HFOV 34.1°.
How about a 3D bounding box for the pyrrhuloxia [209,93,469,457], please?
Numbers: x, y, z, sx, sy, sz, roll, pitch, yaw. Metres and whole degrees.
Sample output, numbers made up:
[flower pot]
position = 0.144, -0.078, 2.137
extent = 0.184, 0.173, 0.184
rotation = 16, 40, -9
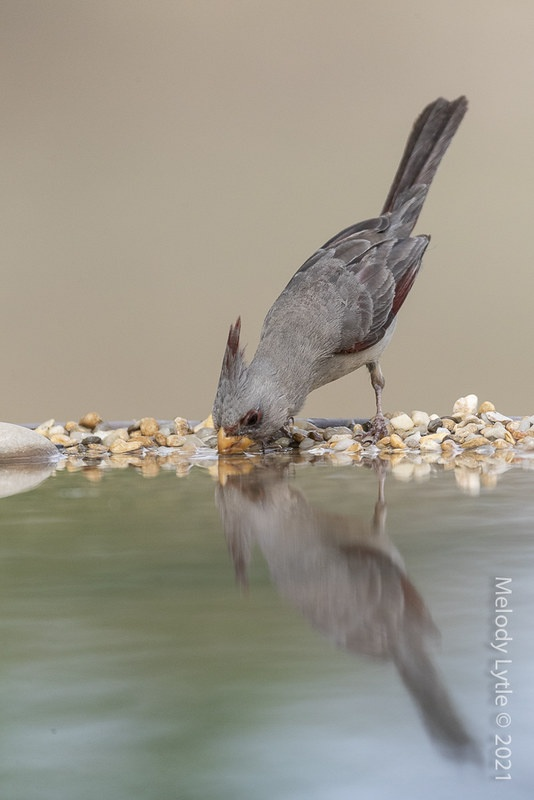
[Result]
[pyrrhuloxia]
position = 0.248, -0.442, 2.871
extent = 0.484, 1.216, 1.183
rotation = 3, 10, 28
